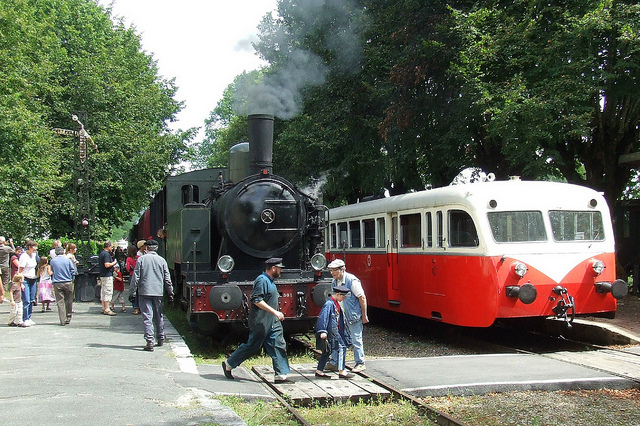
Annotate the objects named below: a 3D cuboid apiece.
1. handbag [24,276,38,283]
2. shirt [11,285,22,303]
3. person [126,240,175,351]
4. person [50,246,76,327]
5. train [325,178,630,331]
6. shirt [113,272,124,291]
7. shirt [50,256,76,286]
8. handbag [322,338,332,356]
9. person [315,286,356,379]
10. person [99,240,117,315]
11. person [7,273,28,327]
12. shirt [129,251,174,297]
[{"bbox_3d":[-8.252,1.905,14.601,0.200,0.190,0.199,2,-8,-20],"label":"handbag"},{"bbox_3d":[-8.020,2.151,13.538,0.225,0.470,0.243,2,-5,-32],"label":"shirt"},{"bbox_3d":[-3.769,1.797,11.614,1.056,2.428,0.753,7,-14,-42],"label":"person"},{"bbox_3d":[-7.192,2.021,14.307,0.619,2.181,0.808,1,-5,-21],"label":"person"},{"bbox_3d":[3.757,0.977,13.629,7.006,3.611,2.844,-6,-7,45],"label":"train"},{"bbox_3d":[-7.052,2.413,17.945,0.313,0.685,0.992,2,-5,-23],"label":"shirt"},{"bbox_3d":[-7.287,1.532,14.373,0.722,0.813,0.440,6,5,-21],"label":"shirt"},{"bbox_3d":[0.118,2.434,9.262,0.175,0.282,0.072,-4,8,-12],"label":"handbag"},{"bbox_3d":[0.254,2.202,9.429,0.661,1.672,0.479,0,-4,2],"label":"person"},{"bbox_3d":[-6.943,2.096,16.800,0.542,2.375,1.257,1,-5,-22],"label":"person"},{"bbox_3d":[-8.138,2.366,13.849,0.437,1.421,0.924,2,-5,-31],"label":"person"},{"bbox_3d":[-3.776,1.370,11.507,0.892,1.008,0.403,2,-5,-22],"label":"shirt"}]
